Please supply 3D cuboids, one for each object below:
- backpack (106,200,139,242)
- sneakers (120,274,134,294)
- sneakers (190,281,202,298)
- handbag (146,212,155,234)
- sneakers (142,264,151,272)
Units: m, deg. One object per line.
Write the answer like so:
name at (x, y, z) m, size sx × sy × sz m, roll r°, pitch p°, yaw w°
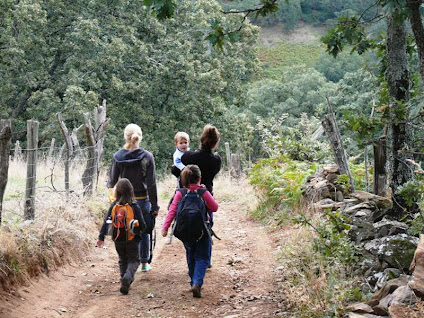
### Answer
backpack at (-1.562, 1.136, 8.937) m, size 0.605 × 0.727 × 0.444 m, roll 5°, pitch 6°, yaw 24°
sneakers at (-1.513, 2.215, 8.784) m, size 0.152 × 0.446 × 0.187 m, roll 10°, pitch 1°, yaw 1°
sneakers at (-0.269, 2.297, 8.685) m, size 0.160 × 0.287 × 0.182 m, roll -5°, pitch 9°, yaw 1°
handbag at (-1.131, 1.187, 9.198) m, size 0.131 × 0.340 × 0.237 m, roll 10°, pitch 4°, yaw 26°
sneakers at (-1.268, 2.092, 9.511) m, size 0.085 × 0.168 × 0.228 m, roll -1°, pitch 1°, yaw 16°
